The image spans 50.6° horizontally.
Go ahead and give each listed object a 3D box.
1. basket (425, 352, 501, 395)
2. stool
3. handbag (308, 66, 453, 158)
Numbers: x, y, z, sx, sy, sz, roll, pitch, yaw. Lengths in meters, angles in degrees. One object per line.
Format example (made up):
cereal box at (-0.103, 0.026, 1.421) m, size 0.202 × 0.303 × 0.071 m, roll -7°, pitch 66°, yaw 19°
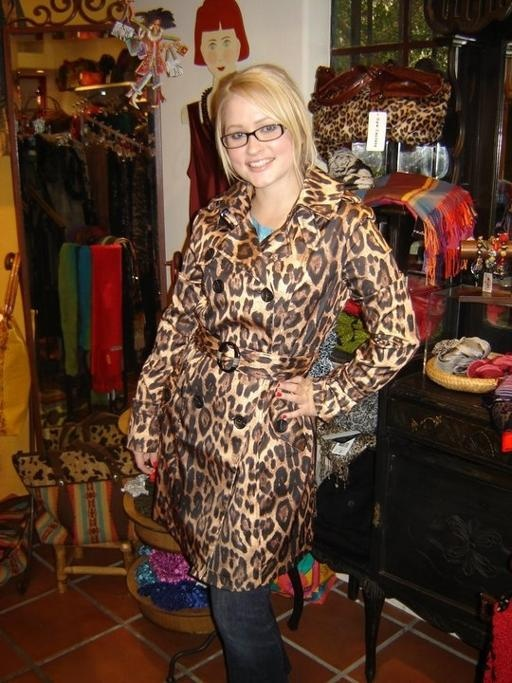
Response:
basket at (0.507, 0.088, 1.402) m, size 0.077 × 0.072 × 0.222 m, roll -4°, pitch 8°, yaw -27°
stool at (-0.661, 0.910, 2.229) m, size 0.256 × 0.185 × 0.248 m, roll 1°, pitch 3°, yaw -4°
handbag at (0.389, -0.697, 1.668) m, size 0.162 × 0.240 × 0.373 m, roll -10°, pitch 14°, yaw -44°
